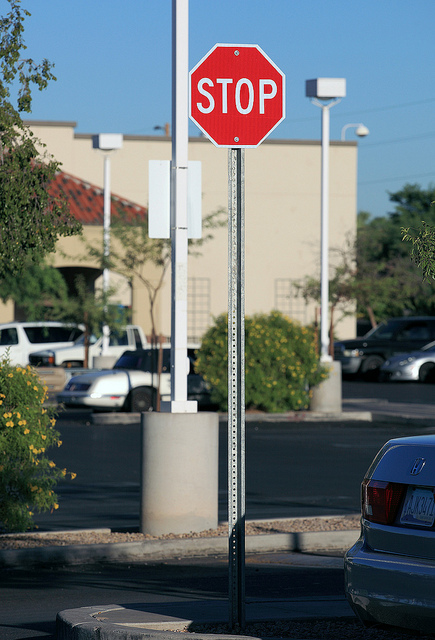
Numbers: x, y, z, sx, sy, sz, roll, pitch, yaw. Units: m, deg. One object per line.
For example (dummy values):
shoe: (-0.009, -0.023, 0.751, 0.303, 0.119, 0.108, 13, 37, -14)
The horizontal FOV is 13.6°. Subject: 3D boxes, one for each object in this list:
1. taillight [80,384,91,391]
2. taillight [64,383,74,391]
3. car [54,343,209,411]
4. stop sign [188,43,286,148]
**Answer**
taillight: (-1.940, 0.955, 26.886, 0.190, 0.070, 0.070, 0, 2, 45)
taillight: (-2.213, 0.957, 27.195, 0.107, 0.113, 0.256, -2, 1, -13)
car: (-1.142, 0.908, 27.321, 2.038, 0.775, 1.203, 2, -3, -30)
stop sign: (0.133, -1.484, 11.925, 0.629, 0.050, 0.842, 1, -47, 1)
